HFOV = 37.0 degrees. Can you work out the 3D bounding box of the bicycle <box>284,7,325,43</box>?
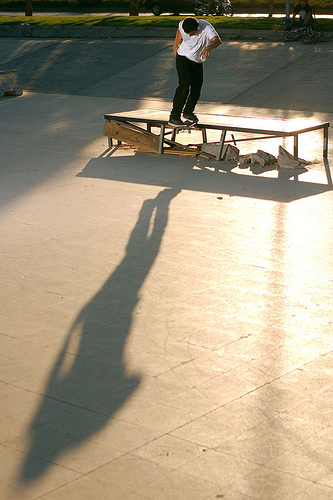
[{"bbox_3d":[5.242,-8.276,18.576,1.371,0.941,1.970,0,26,38],"label":"bicycle"}]
